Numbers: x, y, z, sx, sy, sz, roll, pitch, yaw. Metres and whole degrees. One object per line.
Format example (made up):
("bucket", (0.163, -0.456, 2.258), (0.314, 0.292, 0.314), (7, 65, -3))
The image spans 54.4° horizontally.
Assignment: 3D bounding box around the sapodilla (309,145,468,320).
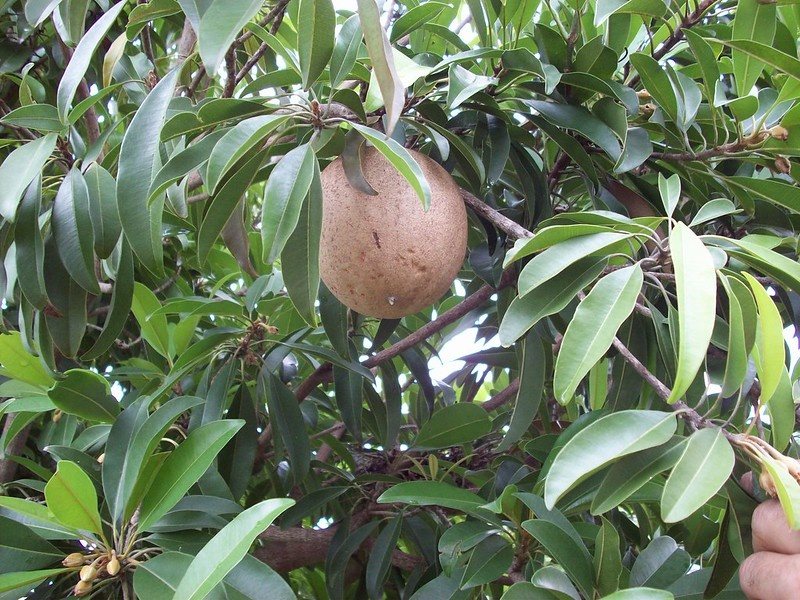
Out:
("sapodilla", (0.007, -0.130, 1.724), (0.276, 0.336, 0.280), (12, -38, -38))
